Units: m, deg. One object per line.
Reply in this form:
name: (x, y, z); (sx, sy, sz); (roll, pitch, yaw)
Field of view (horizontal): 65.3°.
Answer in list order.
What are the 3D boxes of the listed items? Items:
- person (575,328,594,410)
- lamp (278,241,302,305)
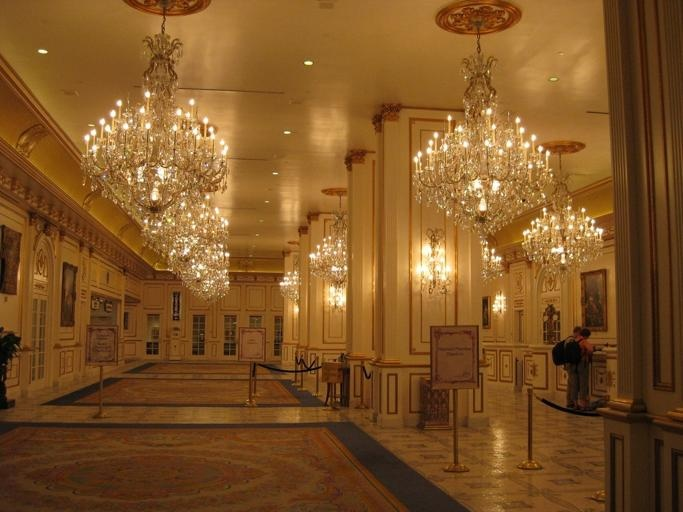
person: (6.191, 2.924, 13.687); (0.479, 1.988, 0.999); (-4, -15, 23)
lamp: (-2.325, 1.285, 26.099); (1.528, 2.587, 1.571); (2, -6, -14)
